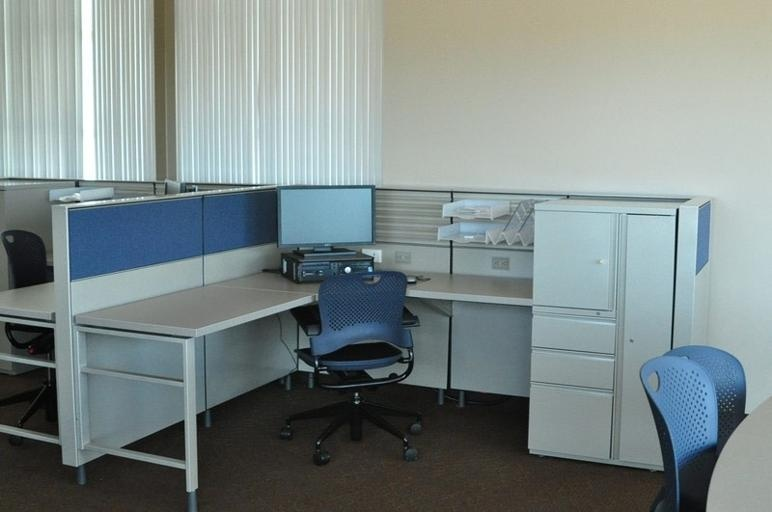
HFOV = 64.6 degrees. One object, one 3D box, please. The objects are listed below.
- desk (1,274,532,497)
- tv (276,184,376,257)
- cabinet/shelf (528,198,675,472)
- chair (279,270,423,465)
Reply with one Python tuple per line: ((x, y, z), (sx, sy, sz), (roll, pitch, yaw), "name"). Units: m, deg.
((-1.190, 0.403, 4.022), (2.292, 0.786, 2.117), (2, 6, 26), "desk")
((-0.495, -0.304, 4.972), (0.666, 0.375, 0.058), (-1, 2, -11), "tv")
((1.456, 0.542, 4.185), (0.948, 1.768, 0.262), (3, 12, 12), "cabinet/shelf")
((-0.217, 0.720, 4.282), (1.078, 1.188, 0.922), (-2, -5, 23), "chair")
